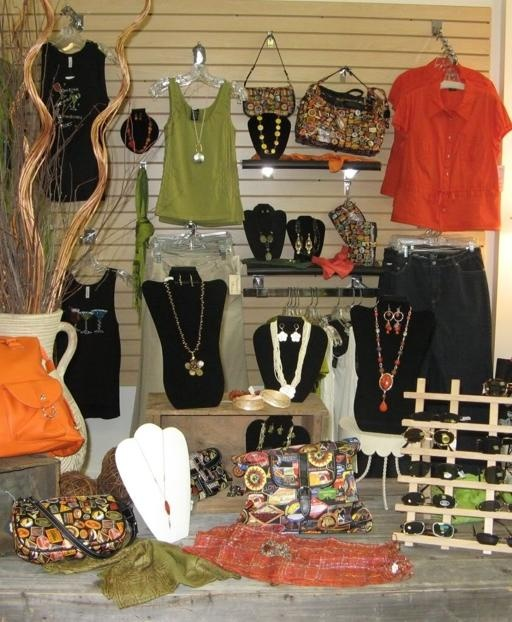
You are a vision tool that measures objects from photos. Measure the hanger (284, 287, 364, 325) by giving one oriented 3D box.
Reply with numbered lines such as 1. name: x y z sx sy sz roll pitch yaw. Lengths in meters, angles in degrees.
1. hanger: 0.432 -0.048 3.641 0.502 0.233 0.706 1 10 9

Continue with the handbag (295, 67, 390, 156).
1. handbag: 0.509 -1.208 3.645 0.572 0.501 0.212 7 11 -14

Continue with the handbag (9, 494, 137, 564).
1. handbag: -0.589 0.700 1.992 0.329 0.102 0.219 3 39 -28

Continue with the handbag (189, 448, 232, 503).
1. handbag: -0.207 0.701 2.627 0.063 0.165 0.168 -3 30 -47

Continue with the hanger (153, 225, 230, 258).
1. hanger: -0.362 -0.398 3.515 0.353 0.120 0.214 -1 11 -1

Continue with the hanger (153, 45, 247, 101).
1. hanger: -0.339 -1.456 3.679 0.484 0.288 0.040 1 17 -1

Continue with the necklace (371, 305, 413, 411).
1. necklace: 0.600 0.208 2.739 0.160 0.466 0.057 4 -7 13

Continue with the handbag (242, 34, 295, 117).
1. handbag: 0.079 -1.426 3.649 0.321 0.529 0.362 -1 10 -1

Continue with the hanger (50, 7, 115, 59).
1. hanger: -1.063 -1.606 3.645 0.340 0.383 0.191 -6 26 -14

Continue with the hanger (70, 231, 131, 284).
1. hanger: -1.016 -0.303 3.705 0.296 0.363 0.098 11 2 9

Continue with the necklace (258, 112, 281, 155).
1. necklace: 0.076 -1.031 3.516 0.142 0.214 0.046 1 11 0

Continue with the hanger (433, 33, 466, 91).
1. hanger: 1.161 -1.520 3.673 0.147 0.415 0.462 1 10 11

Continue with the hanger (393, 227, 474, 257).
1. hanger: 1.015 -0.386 3.475 0.481 0.132 0.162 1 10 10

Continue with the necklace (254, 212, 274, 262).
1. necklace: 0.055 -0.454 3.615 0.098 0.279 0.091 -1 11 1

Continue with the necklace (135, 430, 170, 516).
1. necklace: -0.383 0.565 2.219 0.035 0.313 0.126 -36 -31 31

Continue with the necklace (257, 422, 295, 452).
1. necklace: 0.096 0.567 2.764 0.139 0.130 0.007 3 7 7

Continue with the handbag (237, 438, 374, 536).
1. handbag: 0.166 0.582 2.262 0.646 0.410 0.278 -2 -14 -2

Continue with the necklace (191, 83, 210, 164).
1. necklace: -0.327 -1.004 3.484 0.089 0.306 0.109 -3 11 -6
